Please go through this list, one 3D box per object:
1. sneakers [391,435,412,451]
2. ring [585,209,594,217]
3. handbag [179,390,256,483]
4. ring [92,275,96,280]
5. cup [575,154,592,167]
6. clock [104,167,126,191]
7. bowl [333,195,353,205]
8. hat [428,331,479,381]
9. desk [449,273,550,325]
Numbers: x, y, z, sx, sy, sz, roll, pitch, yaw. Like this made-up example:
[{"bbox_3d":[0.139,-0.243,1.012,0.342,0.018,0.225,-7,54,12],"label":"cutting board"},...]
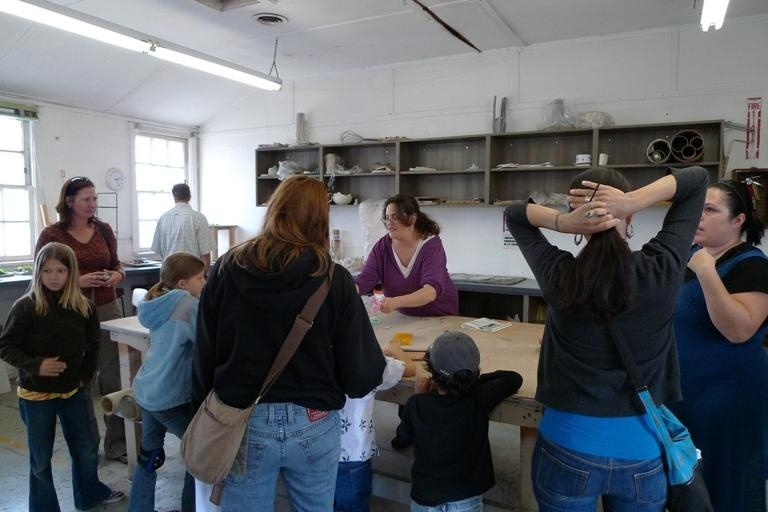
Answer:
[{"bbox_3d":[0.100,1.101,3.209,0.081,0.094,0.128,2,-7,-30],"label":"sneakers"},{"bbox_3d":[0.798,-0.165,2.075,0.025,0.029,0.008,1,6,21],"label":"ring"},{"bbox_3d":[-0.736,0.797,2.332,0.365,0.403,0.100,0,6,14],"label":"handbag"},{"bbox_3d":[-2.144,0.150,3.964,0.011,0.034,0.035,4,-2,-44],"label":"ring"},{"bbox_3d":[1.906,-0.900,5.117,0.143,0.069,0.133,-2,6,0],"label":"cup"},{"bbox_3d":[-3.236,-0.930,6.463,0.058,0.236,0.247,-1,0,32],"label":"clock"},{"bbox_3d":[-0.496,-0.669,6.416,0.146,0.079,0.150,-1,-2,0],"label":"bowl"},{"bbox_3d":[0.345,0.488,2.667,0.254,0.192,0.155,-1,6,4],"label":"hat"},{"bbox_3d":[1.108,0.494,5.364,1.081,0.501,0.332,-3,-2,-7],"label":"desk"}]
